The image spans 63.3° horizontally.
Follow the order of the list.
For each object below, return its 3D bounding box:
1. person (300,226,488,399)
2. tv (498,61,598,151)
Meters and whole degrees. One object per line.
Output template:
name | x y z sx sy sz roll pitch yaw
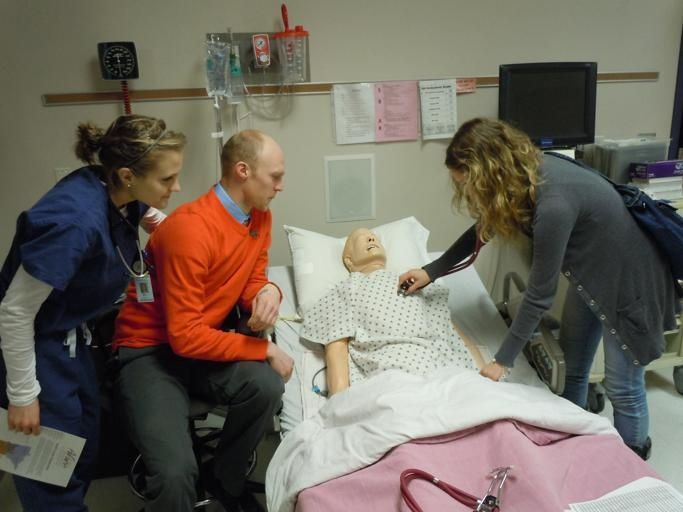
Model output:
person | 0.264 0.308 2.874 0.845 0.272 1.165 -6 44 -15
tv | 1.310 -0.924 3.622 0.581 0.550 0.348 -1 1 7
